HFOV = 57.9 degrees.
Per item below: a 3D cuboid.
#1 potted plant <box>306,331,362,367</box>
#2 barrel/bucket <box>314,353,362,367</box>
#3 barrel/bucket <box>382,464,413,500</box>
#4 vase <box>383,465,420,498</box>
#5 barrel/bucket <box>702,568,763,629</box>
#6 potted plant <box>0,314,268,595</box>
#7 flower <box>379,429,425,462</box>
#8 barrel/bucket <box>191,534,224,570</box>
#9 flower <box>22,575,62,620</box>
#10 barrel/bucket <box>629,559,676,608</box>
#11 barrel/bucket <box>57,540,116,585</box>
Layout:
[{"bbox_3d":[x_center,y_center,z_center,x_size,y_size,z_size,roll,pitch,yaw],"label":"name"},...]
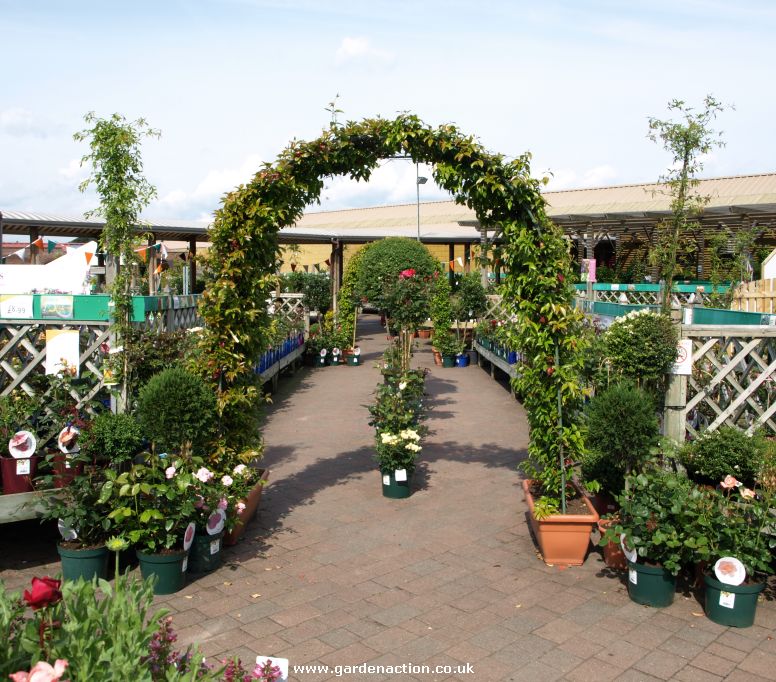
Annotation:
[{"bbox_3d":[-1.491,0.236,18.422,1.107,0.530,0.911,2,1,0],"label":"potted plant"},{"bbox_3d":[-1.270,0.505,18.369,1.238,0.294,0.620,-1,6,-12],"label":"barrel/bucket"},{"bbox_3d":[0.089,1.525,7.627,0.352,0.303,0.333,-1,0,0],"label":"barrel/bucket"},{"bbox_3d":[0.119,1.519,7.653,0.372,0.241,0.347,0,-4,-6],"label":"vase"},{"bbox_3d":[2.415,1.806,4.970,0.375,0.252,0.349,-1,-1,0],"label":"barrel/bucket"},{"bbox_3d":[-2.029,0.942,5.871,2.169,1.604,2.420,-1,5,-7],"label":"potted plant"},{"bbox_3d":[0.125,1.093,7.598,0.408,0.237,0.365,0,3,-10],"label":"flower"},{"bbox_3d":[-1.490,1.736,5.787,0.297,0.215,0.312,0,-6,0],"label":"barrel/bucket"},{"bbox_3d":[-1.463,1.057,2.946,0.130,0.167,0.083,-5,8,-36],"label":"flower"},{"bbox_3d":[1.941,1.783,5.203,0.357,0.231,0.321,4,-6,-25],"label":"barrel/bucket"},{"bbox_3d":[-2.328,1.740,5.369,0.374,0.349,0.499,-2,7,-23],"label":"barrel/bucket"}]
